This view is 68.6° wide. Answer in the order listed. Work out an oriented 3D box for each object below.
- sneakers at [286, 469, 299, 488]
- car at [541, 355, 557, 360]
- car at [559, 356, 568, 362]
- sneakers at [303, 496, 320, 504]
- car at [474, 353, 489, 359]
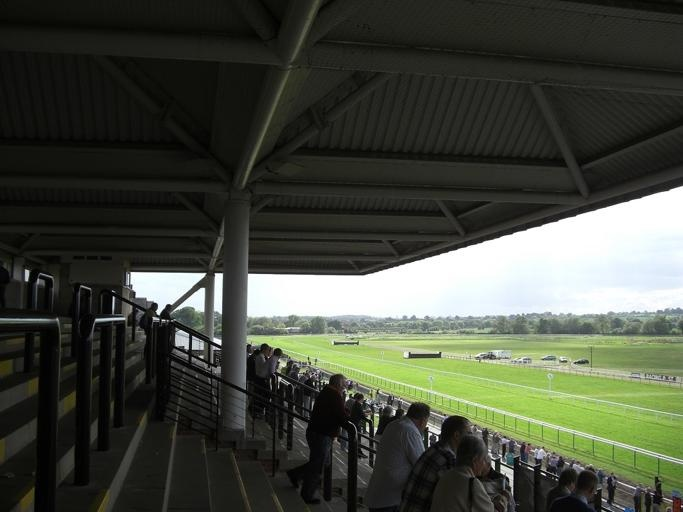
[{"bbox_3d":[-0.709,3.323,7.494,0.125,0.292,0.397,1,-22,-3],"label":"sneakers"},{"bbox_3d":[51.544,24.977,122.867,2.831,1.365,1.560,4,-8,-4],"label":"car"},{"bbox_3d":[52.530,24.223,117.493,1.482,1.259,2.447,0,-12,-1],"label":"car"},{"bbox_3d":[-0.416,3.434,7.042,0.228,0.078,0.093,1,-6,-6],"label":"sneakers"},{"bbox_3d":[36.133,25.279,127.430,1.952,0.931,2.923,-5,-5,15],"label":"car"}]
